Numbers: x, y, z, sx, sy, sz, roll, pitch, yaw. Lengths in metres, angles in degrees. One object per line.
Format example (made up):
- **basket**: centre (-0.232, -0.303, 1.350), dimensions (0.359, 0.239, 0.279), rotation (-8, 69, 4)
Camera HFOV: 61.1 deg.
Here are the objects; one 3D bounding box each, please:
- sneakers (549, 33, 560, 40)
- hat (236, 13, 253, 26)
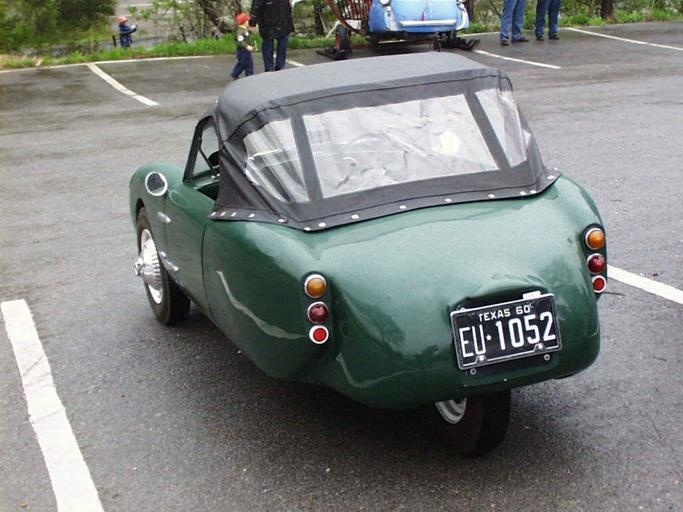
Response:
- **sneakers**: centre (7.825, -8.082, 21.305), dimensions (0.224, 0.165, 0.376), rotation (-2, 28, -3)
- **hat**: centre (-2.618, -6.324, 15.525), dimensions (0.327, 0.291, 0.486), rotation (-6, 22, -6)
